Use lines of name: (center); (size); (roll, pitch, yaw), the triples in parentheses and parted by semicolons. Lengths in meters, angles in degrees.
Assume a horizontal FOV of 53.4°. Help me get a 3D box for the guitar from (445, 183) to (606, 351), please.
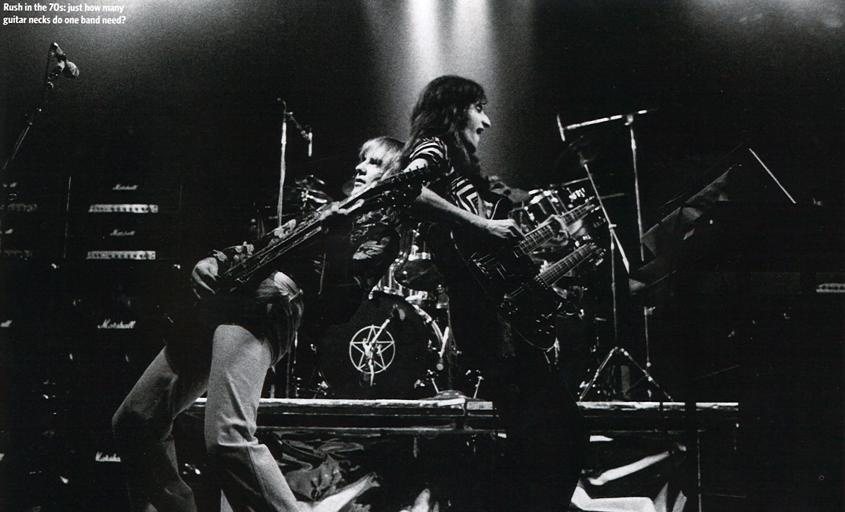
guitar: (0.633, 0.048, 4.845); (1.203, 0.617, 0.125); (-41, 1, -4)

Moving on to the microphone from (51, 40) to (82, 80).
microphone: (-2.132, -1.139, 5.046); (0.131, 0.249, 0.141); (-20, 7, 8)

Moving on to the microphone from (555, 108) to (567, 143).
microphone: (0.813, -0.759, 4.954); (0.053, 0.178, 0.043); (-11, -5, 6)

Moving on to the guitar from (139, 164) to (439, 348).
guitar: (-0.701, 0.042, 5.179); (1.839, 0.638, 0.231); (-28, -38, 1)

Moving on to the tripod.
tripod: (1.177, 0.120, 4.954); (0.573, 1.459, 0.077); (2, -6, -10)
